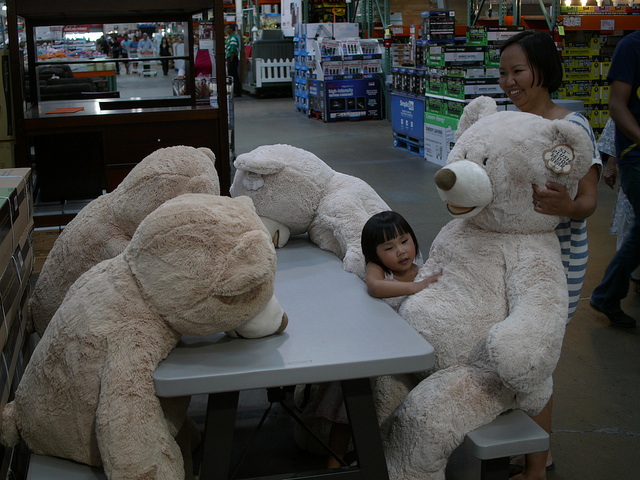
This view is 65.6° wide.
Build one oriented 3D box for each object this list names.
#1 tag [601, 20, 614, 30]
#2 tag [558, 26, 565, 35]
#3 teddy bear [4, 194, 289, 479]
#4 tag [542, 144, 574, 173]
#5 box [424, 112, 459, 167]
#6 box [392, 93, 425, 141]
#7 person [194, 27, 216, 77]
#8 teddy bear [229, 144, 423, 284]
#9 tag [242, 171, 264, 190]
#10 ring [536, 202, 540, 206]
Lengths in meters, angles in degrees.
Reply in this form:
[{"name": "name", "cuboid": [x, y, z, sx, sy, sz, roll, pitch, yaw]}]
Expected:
[{"name": "tag", "cuboid": [4.525, -3.390, 7.824, 0.264, 0.138, 0.070, -12, 23, -24]}, {"name": "tag", "cuboid": [3.845, -3.341, 7.924, 0.092, 0.123, 0.073, 6, 22, 22]}, {"name": "teddy bear", "cuboid": [-0.478, 0.262, 1.378, 0.682, 0.696, 0.439, -18, 26, -36]}, {"name": "tag", "cuboid": [0.823, -0.282, 1.710, 0.093, 0.092, 0.013, 20, 15, -2]}, {"name": "box", "cuboid": [2.068, -1.650, 8.036, 0.356, 0.741, 0.724, -22, 28, -34]}, {"name": "box", "cuboid": [1.601, -2.211, 8.856, 0.499, 0.635, 0.866, -5, 19, -15]}, {"name": "person", "cuboid": [-1.148, -1.845, 4.877, 0.186, 0.458, 0.882, -7, 21, -12]}, {"name": "teddy bear", "cuboid": [0.038, -0.164, 2.618, 1.052, 0.571, 0.856, 19, 9, 18]}, {"name": "tag", "cuboid": [-0.317, -0.282, 2.362, 0.121, 0.077, 0.042, 13, 25, 34]}, {"name": "ring", "cuboid": [0.773, -0.128, 1.761, 0.003, 0.013, 0.012, 23, -8, -42]}]
